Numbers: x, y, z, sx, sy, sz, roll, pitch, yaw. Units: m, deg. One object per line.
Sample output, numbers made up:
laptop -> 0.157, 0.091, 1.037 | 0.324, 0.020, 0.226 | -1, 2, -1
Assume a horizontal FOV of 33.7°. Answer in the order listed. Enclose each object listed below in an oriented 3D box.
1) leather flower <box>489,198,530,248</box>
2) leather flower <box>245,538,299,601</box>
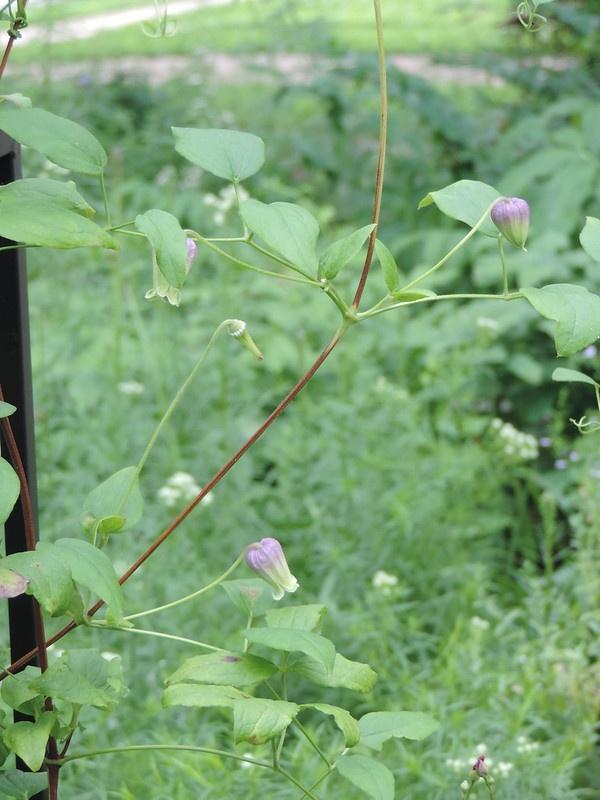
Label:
leather flower -> 0.272, -0.229, 1.290 | 0.048, 0.071, 0.042 | 2, 23, 8
leather flower -> -0.043, 0.227, 1.351 | 0.046, 0.079, 0.057 | -32, 11, -22
